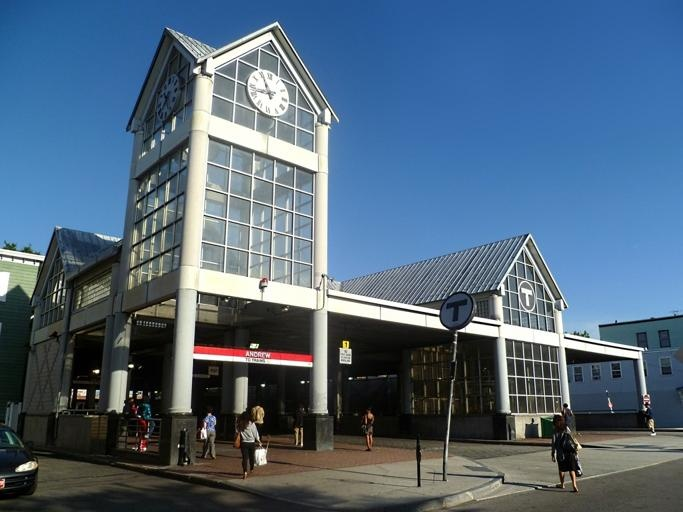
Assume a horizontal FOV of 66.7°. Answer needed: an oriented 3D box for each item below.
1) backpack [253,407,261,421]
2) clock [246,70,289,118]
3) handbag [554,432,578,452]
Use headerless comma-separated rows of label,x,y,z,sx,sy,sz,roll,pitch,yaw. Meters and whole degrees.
backpack,-2.674,4.961,16.366,0.263,0.414,0.212,3,-18,-11
clock,-3.809,-8.046,25.861,0.230,2.271,2.218,-34,3,41
handbag,6.640,5.546,15.443,0.536,0.630,0.319,-3,-26,11
